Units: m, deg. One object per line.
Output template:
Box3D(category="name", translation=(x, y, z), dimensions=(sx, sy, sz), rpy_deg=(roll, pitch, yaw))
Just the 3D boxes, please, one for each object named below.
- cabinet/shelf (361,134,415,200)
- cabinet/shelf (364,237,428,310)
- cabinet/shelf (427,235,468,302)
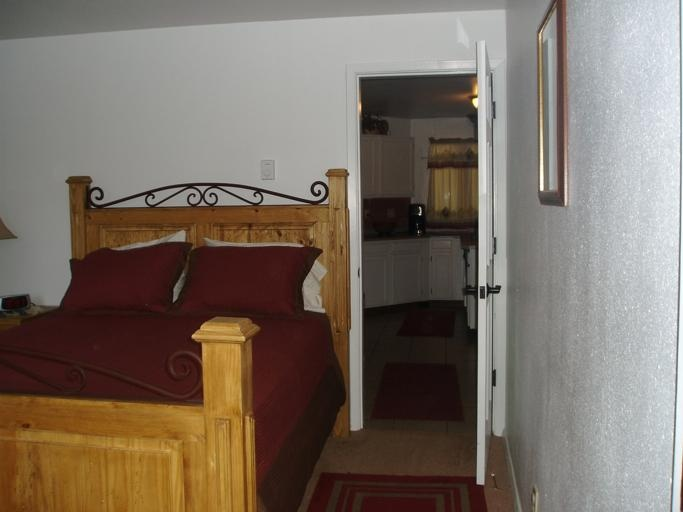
Box3D(category="cabinet/shelf", translation=(0.537, -1.097, 7.255), dimensions=(0.959, 0.938, 0.329), rpy_deg=(-4, 4, -42))
Box3D(category="cabinet/shelf", translation=(0.599, 0.189, 6.943), dimensions=(0.261, 0.727, 0.752), rpy_deg=(0, 4, 43))
Box3D(category="cabinet/shelf", translation=(1.357, 0.133, 7.499), dimensions=(0.493, 0.927, 0.532), rpy_deg=(-1, 14, 11))
